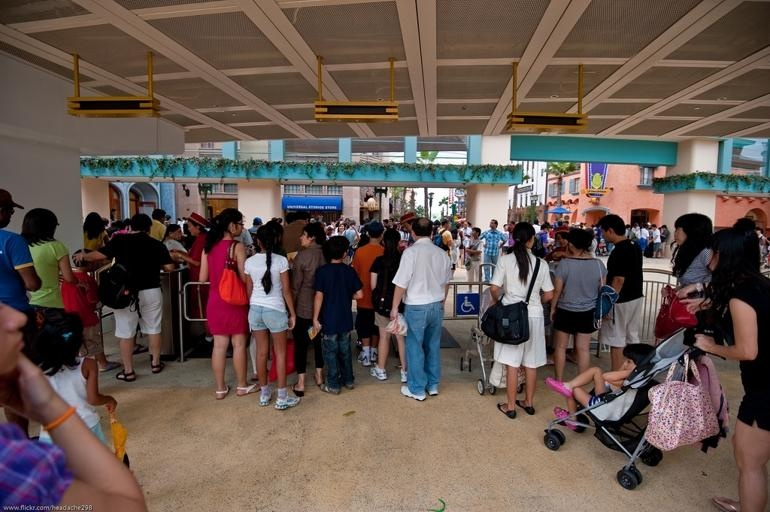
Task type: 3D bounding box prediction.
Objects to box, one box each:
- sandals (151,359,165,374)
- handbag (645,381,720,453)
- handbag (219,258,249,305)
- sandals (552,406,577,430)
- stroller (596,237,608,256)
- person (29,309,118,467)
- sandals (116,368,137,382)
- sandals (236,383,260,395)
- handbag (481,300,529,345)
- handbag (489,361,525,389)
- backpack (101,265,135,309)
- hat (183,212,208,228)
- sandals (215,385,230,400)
[{"bbox_3d":[-3.612,1.748,8.473,0.111,0.099,0.256,1,10,-5],"label":"sandals"},{"bbox_3d":[3.338,1.771,6.010,0.760,0.887,0.521,-2,18,24],"label":"handbag"},{"bbox_3d":[-2.108,0.369,7.512,0.561,0.682,0.338,7,12,44],"label":"handbag"},{"bbox_3d":[2.340,2.117,6.971,0.346,0.141,0.150,39,-12,12],"label":"sandals"},{"bbox_3d":[8.885,-0.414,22.048,0.696,0.429,0.927,2,15,15],"label":"stroller"},{"bbox_3d":[-3.413,1.730,5.978,0.768,2.264,0.755,-1,17,-18],"label":"person"},{"bbox_3d":[-3.972,1.820,8.186,0.279,0.119,0.157,13,2,11],"label":"sandals"},{"bbox_3d":[-2.020,1.951,7.857,0.148,0.095,0.243,3,4,37],"label":"sandals"},{"bbox_3d":[1.674,0.862,7.410,0.643,0.657,0.360,1,-9,39],"label":"handbag"},{"bbox_3d":[1.731,1.683,7.616,0.425,0.556,0.290,3,20,-8],"label":"handbag"},{"bbox_3d":[-3.894,0.441,7.818,0.545,0.739,0.397,-6,-5,-22],"label":"backpack"},{"bbox_3d":[-3.445,-0.660,9.805,0.265,0.137,0.359,8,-1,-2],"label":"hat"},{"bbox_3d":[-2.362,1.954,7.750,0.124,0.110,0.280,1,10,2],"label":"sandals"}]
